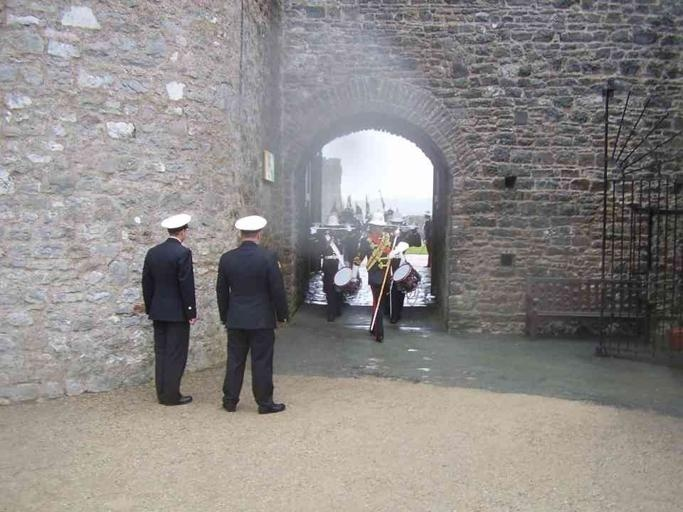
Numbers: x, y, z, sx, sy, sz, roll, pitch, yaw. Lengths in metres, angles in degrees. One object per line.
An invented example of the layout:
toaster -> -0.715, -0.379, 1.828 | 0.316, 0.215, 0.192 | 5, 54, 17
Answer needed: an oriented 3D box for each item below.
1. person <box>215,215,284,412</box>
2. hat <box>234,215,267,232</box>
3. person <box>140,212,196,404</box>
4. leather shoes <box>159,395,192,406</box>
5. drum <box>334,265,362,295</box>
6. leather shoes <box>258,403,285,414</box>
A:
person -> -1.073, 0.676, 6.541 | 0.707, 2.166, 0.813 | -4, 13, -25
hat -> -1.076, -0.330, 6.587 | 0.273, 0.068, 0.260 | -8, 40, -14
person -> -1.991, 0.631, 6.629 | 0.526, 2.111, 0.608 | -3, 13, -20
leather shoes -> -1.917, 1.665, 6.648 | 0.350, 0.144, 0.122 | -4, 11, -12
drum -> -0.053, 0.388, 9.868 | 0.365, 0.329, 0.496 | -16, 50, 6
leather shoes -> -0.839, 1.721, 6.521 | 0.307, 0.134, 0.107 | -2, 14, -21
